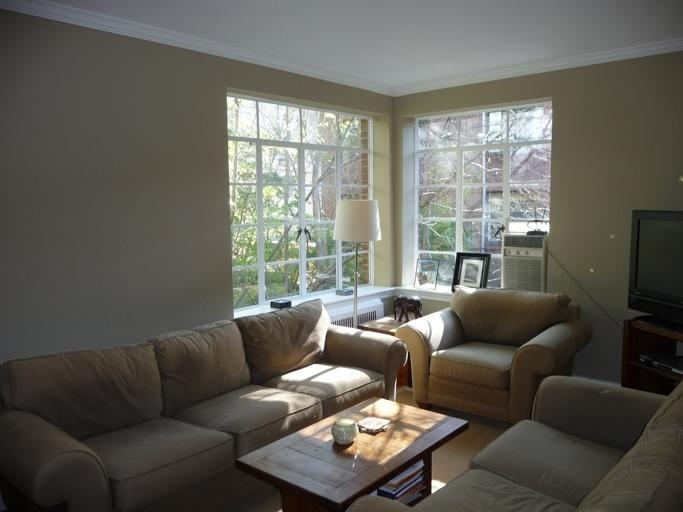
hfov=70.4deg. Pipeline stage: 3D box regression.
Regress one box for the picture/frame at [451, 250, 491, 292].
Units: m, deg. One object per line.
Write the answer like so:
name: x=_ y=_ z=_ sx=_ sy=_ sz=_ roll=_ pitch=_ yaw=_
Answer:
picture/frame: x=1.508 y=0.167 z=5.584 sx=0.435 sy=0.549 sz=0.055 roll=5 pitch=-5 yaw=43

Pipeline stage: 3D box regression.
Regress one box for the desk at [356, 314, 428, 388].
desk: x=0.512 y=0.897 z=4.948 sx=0.555 sy=0.854 sz=0.821 roll=-1 pitch=1 yaw=-38

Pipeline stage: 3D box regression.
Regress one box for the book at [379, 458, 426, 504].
book: x=0.362 y=1.332 z=2.885 sx=0.281 sy=0.098 sz=0.217 roll=-1 pitch=-3 yaw=-44
